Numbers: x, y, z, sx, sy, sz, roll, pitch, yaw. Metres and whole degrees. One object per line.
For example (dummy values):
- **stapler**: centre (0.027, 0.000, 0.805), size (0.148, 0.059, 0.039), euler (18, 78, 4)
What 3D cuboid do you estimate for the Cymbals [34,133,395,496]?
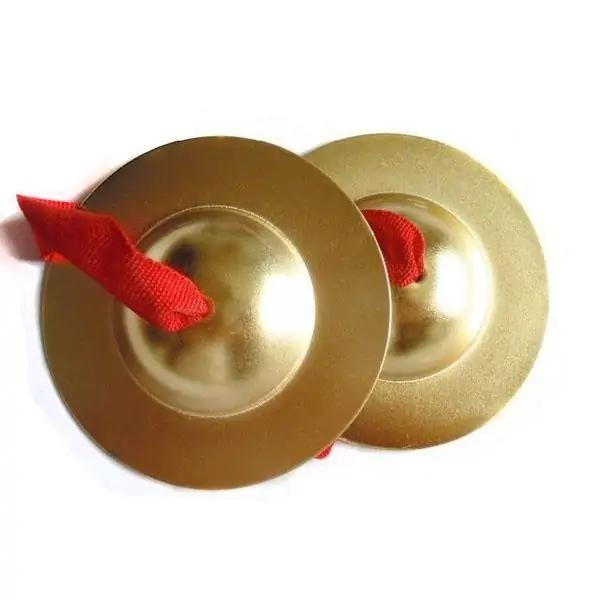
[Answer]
- **Cymbals**: centre (-0.138, 0.021, 1.308), size (0.558, 0.226, 0.534), euler (35, 68, 8)
